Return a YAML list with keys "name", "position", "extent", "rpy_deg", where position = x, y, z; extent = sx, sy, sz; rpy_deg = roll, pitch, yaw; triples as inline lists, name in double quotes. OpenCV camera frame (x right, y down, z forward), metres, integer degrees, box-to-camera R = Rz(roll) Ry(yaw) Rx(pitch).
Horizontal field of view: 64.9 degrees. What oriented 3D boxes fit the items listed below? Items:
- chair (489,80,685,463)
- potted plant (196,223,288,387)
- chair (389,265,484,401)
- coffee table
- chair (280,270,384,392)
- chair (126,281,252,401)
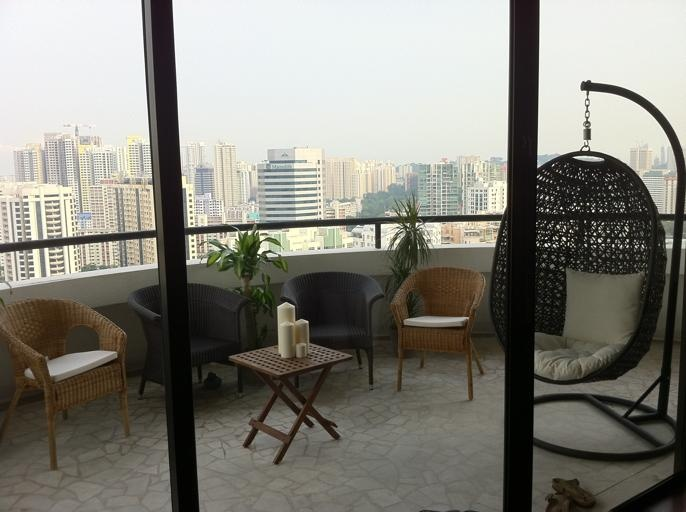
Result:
- name: "chair"
  position: [1.805, -0.024, 3.912]
  extent: [1.227, 2.399, 1.486]
  rpy_deg: [1, 10, 17]
- name: "potted plant"
  position: [-0.789, 0.395, 4.535]
  extent: [0.737, 1.190, 0.631]
  rpy_deg: [0, -1, -15]
- name: "chair"
  position: [0.801, 0.604, 4.557]
  extent: [0.734, 0.879, 0.873]
  rpy_deg: [1, 9, 15]
- name: "coffee table"
  position: [-0.352, 0.994, 3.696]
  extent: [0.654, 0.598, 0.575]
  rpy_deg: [-3, 4, -44]
- name: "chair"
  position: [-0.103, 0.601, 4.651]
  extent: [0.877, 0.880, 0.683]
  rpy_deg: [-1, 2, -6]
- name: "chair"
  position: [-1.271, 0.678, 4.301]
  extent: [0.638, 0.794, 0.858]
  rpy_deg: [3, 4, 41]
